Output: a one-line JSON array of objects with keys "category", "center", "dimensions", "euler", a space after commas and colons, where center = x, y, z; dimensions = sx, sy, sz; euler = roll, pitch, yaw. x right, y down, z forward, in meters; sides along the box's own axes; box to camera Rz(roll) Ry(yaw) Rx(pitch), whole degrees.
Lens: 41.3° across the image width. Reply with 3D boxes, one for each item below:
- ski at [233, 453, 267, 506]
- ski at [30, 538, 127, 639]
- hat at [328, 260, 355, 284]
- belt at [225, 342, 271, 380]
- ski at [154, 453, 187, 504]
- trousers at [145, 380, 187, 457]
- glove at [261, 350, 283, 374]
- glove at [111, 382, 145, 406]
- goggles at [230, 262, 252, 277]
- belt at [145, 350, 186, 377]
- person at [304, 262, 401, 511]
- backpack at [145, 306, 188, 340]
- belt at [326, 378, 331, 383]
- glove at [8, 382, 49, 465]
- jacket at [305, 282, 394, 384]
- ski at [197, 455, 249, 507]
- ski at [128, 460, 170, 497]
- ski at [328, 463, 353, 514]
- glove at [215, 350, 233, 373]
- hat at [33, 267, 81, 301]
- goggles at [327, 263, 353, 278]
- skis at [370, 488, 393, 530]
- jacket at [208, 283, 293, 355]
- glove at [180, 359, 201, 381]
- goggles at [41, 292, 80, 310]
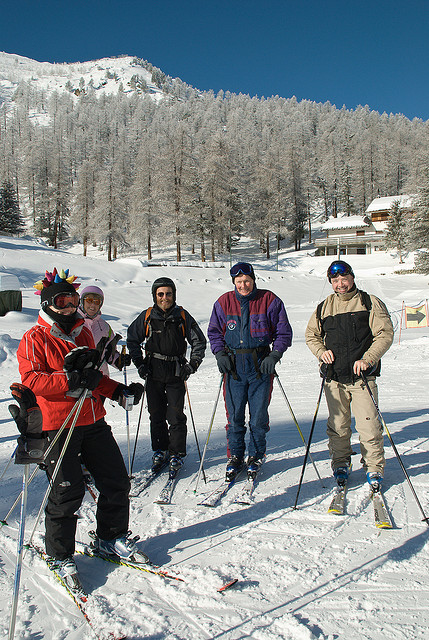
[{"category": "ski", "center": [0.359, 1.415, 5.356], "dimensions": [0.149, 0.120, 1.275], "euler": [24, 10, 5]}, {"category": "ski", "center": [-0.867, 1.743, 3.660], "dimensions": [0.141, 0.064, 1.234], "euler": [-5, 17, -39]}, {"category": "hat", "center": [1.125, -0.451, 4.974], "dimensions": [0.188, 0.224, 0.077], "euler": [-7, 12, 22]}, {"category": "belt", "center": [0.307, 0.322, 5.314], "dimensions": [0.391, 0.296, 0.321], "euler": [-2, -23, 5]}, {"category": "ski", "center": [-0.415, 1.488, 5.327], "dimensions": [0.222, 0.075, 1.369], "euler": [9, 2, 4]}, {"category": "trousers", "center": [-0.453, 0.965, 5.730], "dimensions": [0.407, 0.787, 0.255], "euler": [2, 9, 33]}, {"category": "glove", "center": [0.504, 0.389, 5.192], "dimensions": [0.161, 0.212, 0.291], "euler": [0, 8, 22]}, {"category": "glove", "center": [-0.663, 0.528, 4.352], "dimensions": [0.205, 0.185, 0.144], "euler": [-20, 40, -34]}, {"category": "goggles", "center": [0.253, -0.477, 5.396], "dimensions": [0.194, 0.127, 0.168], "euler": [-3, 8, 3]}, {"category": "belt", "center": [-0.442, 0.433, 5.606], "dimensions": [0.241, 0.192, 0.281], "euler": [6, -14, -31]}, {"category": "person", "center": [1.153, 0.479, 4.983], "dimensions": [0.781, 1.974, 0.673], "euler": [1, 9, 29]}, {"category": "backpack", "center": [-0.469, 0.015, 5.739], "dimensions": [0.416, 0.405, 0.271], "euler": [-1, 0, -2]}, {"category": "belt", "center": [0.998, 0.522, 4.991], "dimensions": [0.042, 0.041, 0.011], "euler": [4, 13, 4]}, {"category": "glove", "center": [-1.190, 0.663, 3.629], "dimensions": [0.189, 0.519, 0.362], "euler": [-6, 8, -18]}, {"category": "jacket", "center": [1.151, 0.127, 5.024], "dimensions": [0.791, 0.800, 0.411], "euler": [4, 11, 45]}, {"category": "ski", "center": [0.083, 1.476, 5.194], "dimensions": [0.215, 0.072, 1.448], "euler": [2, 4, 13]}, {"category": "ski", "center": [-0.630, 1.507, 5.434], "dimensions": [0.086, 0.037, 0.742], "euler": [11, 4, 6]}, {"category": "ski", "center": [1.070, 1.433, 4.837], "dimensions": [0.096, 0.056, 0.717], "euler": [1, 16, 15]}, {"category": "glove", "center": [0.075, 0.379, 5.299], "dimensions": [0.090, 0.189, 0.139], "euler": [-6, -13, -28]}, {"category": "hat", "center": [-1.102, -0.249, 3.949], "dimensions": [0.272, 0.183, 0.248], "euler": [-15, 1, -8]}, {"category": "goggles", "center": [1.090, -0.440, 4.933], "dimensions": [0.219, 0.123, 0.145], "euler": [-3, 8, 1]}, {"category": "skis", "center": [1.304, 1.487, 4.468], "dimensions": [0.143, 0.087, 0.811], "euler": [-1, 3, 11]}, {"category": "jacket", "center": [0.321, 0.000, 5.500], "dimensions": [0.855, 0.721, 0.442], "euler": [-1, 6, 19]}, {"category": "glove", "center": [-0.240, 0.489, 5.581], "dimensions": [0.144, 0.208, 0.083], "euler": [45, 10, 36]}, {"category": "goggles", "center": [-1.034, -0.136, 3.869], "dimensions": [0.176, 0.072, 0.133], "euler": [-9, -9, 41]}]
